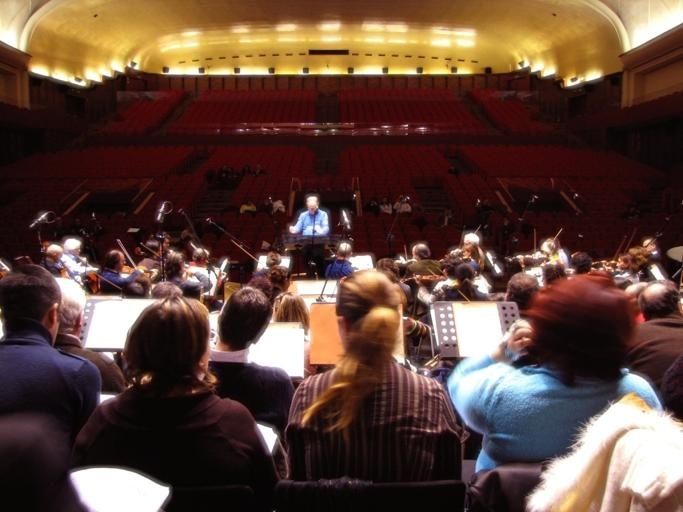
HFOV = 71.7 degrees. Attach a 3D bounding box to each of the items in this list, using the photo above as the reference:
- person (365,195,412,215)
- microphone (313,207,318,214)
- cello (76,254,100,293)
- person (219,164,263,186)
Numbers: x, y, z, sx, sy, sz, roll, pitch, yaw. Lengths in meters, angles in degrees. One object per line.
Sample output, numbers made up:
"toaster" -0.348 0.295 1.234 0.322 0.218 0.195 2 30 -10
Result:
"person" 1.242 -1.246 12.020 0.855 0.358 0.651 1 3 1
"microphone" -0.393 -0.721 7.366 0.079 0.079 0.083 -2 5 18
"cello" -3.274 0.217 6.054 0.125 0.385 0.196 -16 11 4
"person" -3.114 -2.519 14.551 0.821 0.741 0.898 -2 10 14
